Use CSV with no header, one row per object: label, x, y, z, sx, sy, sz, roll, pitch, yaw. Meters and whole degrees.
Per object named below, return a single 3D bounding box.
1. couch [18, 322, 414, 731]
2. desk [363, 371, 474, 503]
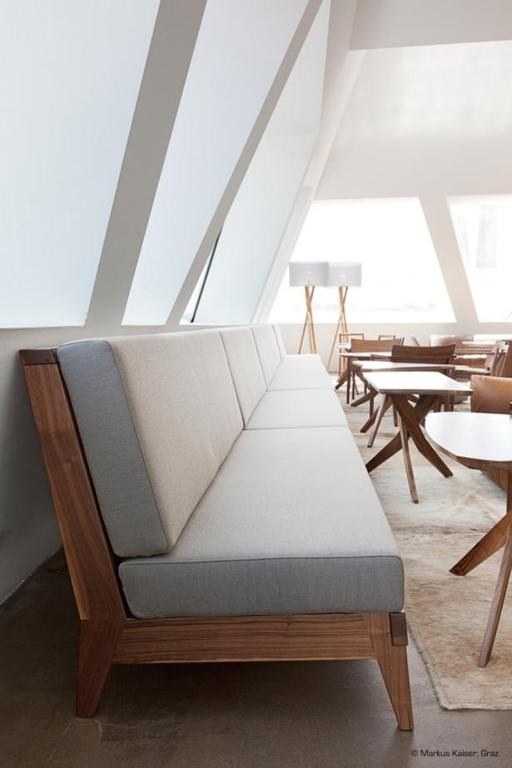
couch,-0.030,0.250,1.564,0.761,0.794,1.015,0,6,6
desk,0.816,0.158,2.779,0.551,0.660,0.618,-1,10,-8
